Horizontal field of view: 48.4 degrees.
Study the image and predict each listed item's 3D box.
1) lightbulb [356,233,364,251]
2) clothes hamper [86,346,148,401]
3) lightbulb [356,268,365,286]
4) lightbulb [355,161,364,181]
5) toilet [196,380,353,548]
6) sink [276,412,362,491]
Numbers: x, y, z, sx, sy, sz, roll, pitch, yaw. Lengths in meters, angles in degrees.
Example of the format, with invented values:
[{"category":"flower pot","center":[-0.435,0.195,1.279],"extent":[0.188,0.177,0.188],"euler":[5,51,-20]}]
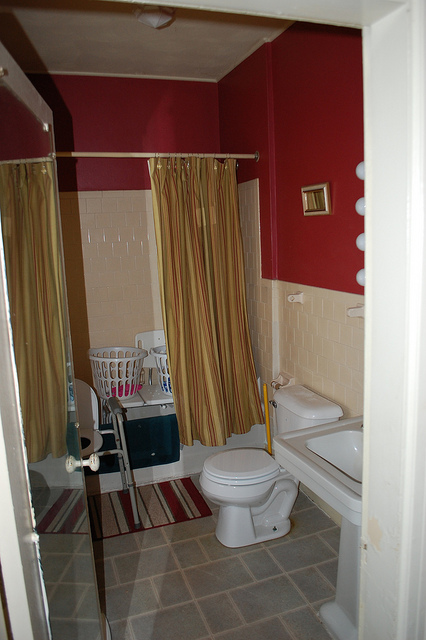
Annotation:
[{"category":"lightbulb","center":[0.564,-0.302,1.816],"extent":[0.020,0.056,0.163],"euler":[1,9,19]},{"category":"clothes hamper","center":[-0.644,0.366,3.211],"extent":[0.380,0.314,0.496],"euler":[-5,8,-17]},{"category":"lightbulb","center":[0.583,-0.165,1.882],"extent":[0.026,0.073,0.245],"euler":[0,9,17]},{"category":"lightbulb","center":[0.556,-0.576,1.796],"extent":[0.023,0.064,0.144],"euler":[1,9,19]},{"category":"toilet","center":[0.270,0.789,2.532],"extent":[0.674,0.835,0.498],"euler":[-4,16,-21]},{"category":"sink","center":[0.467,0.528,1.914],"extent":[0.211,0.103,0.235],"euler":[-2,11,-24]}]
